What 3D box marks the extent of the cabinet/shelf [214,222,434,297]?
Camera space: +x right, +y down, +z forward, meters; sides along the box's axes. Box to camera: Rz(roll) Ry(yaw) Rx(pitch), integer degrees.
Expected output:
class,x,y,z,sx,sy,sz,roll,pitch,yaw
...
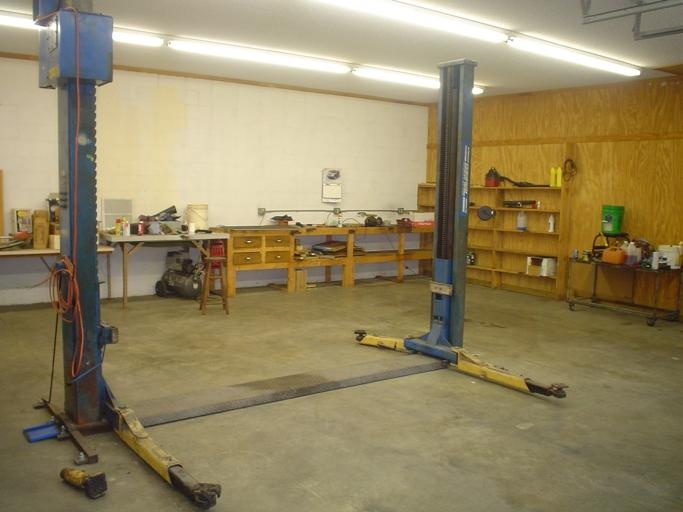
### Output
class,x,y,z,sx,sy,sz,roll,pitch,yaw
cabinet/shelf,-0.408,0.012,9.595,3.778,1.174,0.407,-4,11,-30

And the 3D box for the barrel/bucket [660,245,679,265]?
class,x,y,z,sx,sy,sz,roll,pitch,yaw
barrel/bucket,4.991,-0.015,7.693,0.332,0.311,0.236,-1,5,2

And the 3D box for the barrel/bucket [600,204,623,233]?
class,x,y,z,sx,sy,sz,roll,pitch,yaw
barrel/bucket,4.518,-0.620,8.437,0.423,0.524,0.191,13,22,41

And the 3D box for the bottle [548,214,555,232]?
class,x,y,z,sx,sy,sz,roll,pitch,yaw
bottle,3.913,-0.598,9.398,0.129,0.315,0.356,5,10,20

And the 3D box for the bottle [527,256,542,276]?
class,x,y,z,sx,sy,sz,roll,pitch,yaw
bottle,3.609,0.177,9.463,0.309,0.342,0.189,8,11,34
